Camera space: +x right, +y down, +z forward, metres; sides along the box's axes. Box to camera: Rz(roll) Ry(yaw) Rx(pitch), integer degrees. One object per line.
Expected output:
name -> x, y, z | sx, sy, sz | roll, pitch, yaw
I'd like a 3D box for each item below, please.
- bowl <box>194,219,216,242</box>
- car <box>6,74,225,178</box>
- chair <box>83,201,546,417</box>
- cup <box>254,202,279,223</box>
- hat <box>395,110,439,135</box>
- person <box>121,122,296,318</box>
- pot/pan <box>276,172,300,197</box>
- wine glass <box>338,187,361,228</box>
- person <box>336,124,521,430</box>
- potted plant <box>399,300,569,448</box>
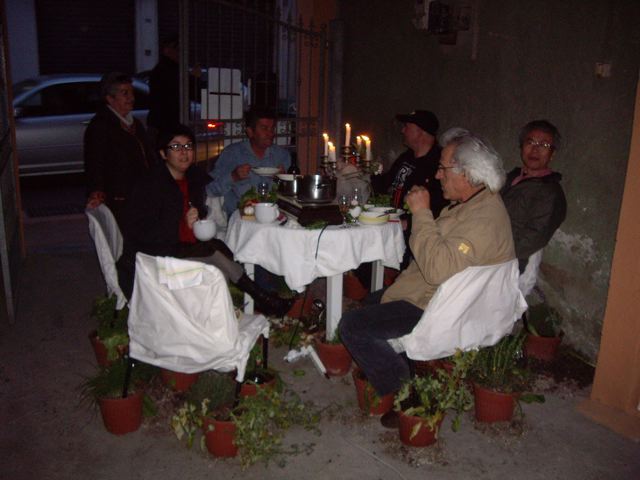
bowl -> -0.929, -0.079, 3.892 | 0.148, 0.135, 0.164 | 4, 18, 11
car -> -3.969, -2.123, 9.978 | 4.899, 1.767, 2.116 | -2, 19, -16
chair -> -0.079, 0.508, 3.637 | 3.208, 1.262, 1.043 | -2, 15, -9
cup -> -0.459, -0.229, 4.072 | 0.177, 0.138, 0.149 | 1, 19, 1
hat -> 1.038, -1.249, 5.091 | 0.409, 0.230, 0.282 | 17, 10, 1
person -> -0.953, -0.114, 4.133 | 1.769, 1.478, 0.861 | 25, 36, 29
pot/pan -> -0.303, -0.525, 4.563 | 0.216, 0.204, 0.184 | 2, 4, -1
wine glass -> 0.259, -0.272, 4.322 | 0.278, 0.427, 0.237 | -3, 12, -1
person -> 0.796, 0.293, 3.721 | 1.197, 2.254, 0.994 | 3, 13, -3
potted plant -> 1.222, 1.014, 3.720 | 0.920, 0.633, 0.874 | -2, 7, 5
